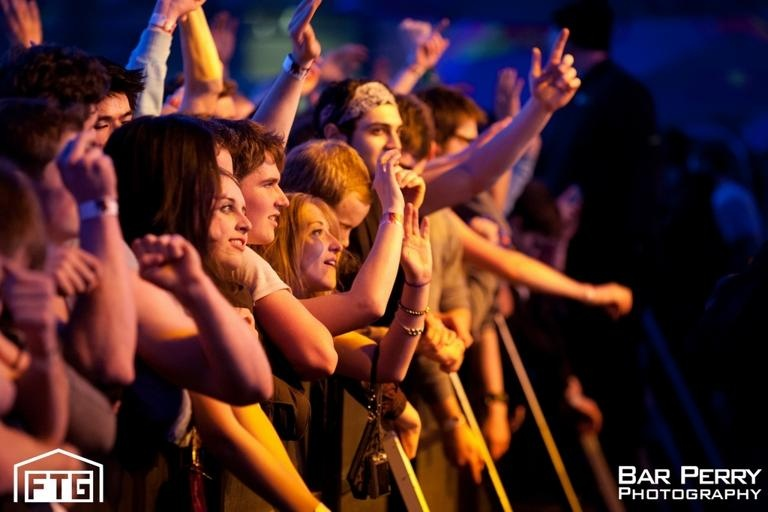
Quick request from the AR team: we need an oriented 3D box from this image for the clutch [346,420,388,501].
[{"bbox_3d":[-0.051,0.928,3.711,0.178,0.335,0.165,-8,14,18],"label":"clutch"}]
